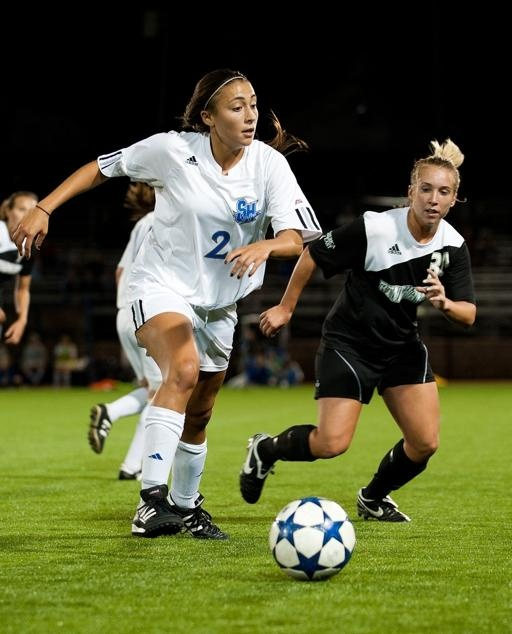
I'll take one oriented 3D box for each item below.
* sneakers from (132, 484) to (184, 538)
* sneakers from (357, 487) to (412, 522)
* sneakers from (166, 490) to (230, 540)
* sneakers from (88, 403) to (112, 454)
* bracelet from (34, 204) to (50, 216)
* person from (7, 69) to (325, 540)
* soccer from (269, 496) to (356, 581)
[{"bbox_3d":[-0.404,0.802,3.056,0.186,0.268,0.254,0,6,-13],"label":"sneakers"},{"bbox_3d":[0.610,0.955,3.880,0.352,0.129,0.113,4,7,27],"label":"sneakers"},{"bbox_3d":[-0.273,0.888,3.345,0.327,0.122,0.123,18,18,29],"label":"sneakers"},{"bbox_3d":[-1.143,0.806,5.532,0.245,0.359,0.147,7,-7,-21],"label":"sneakers"},{"bbox_3d":[-0.867,-0.434,3.082,0.040,0.044,0.053,14,-1,34],"label":"bracelet"},{"bbox_3d":[-0.303,-0.028,3.209,1.122,2.010,0.735,1,7,3],"label":"person"},{"bbox_3d":[0.188,0.735,2.563,0.284,0.218,0.230,1,-24,1],"label":"soccer"}]
